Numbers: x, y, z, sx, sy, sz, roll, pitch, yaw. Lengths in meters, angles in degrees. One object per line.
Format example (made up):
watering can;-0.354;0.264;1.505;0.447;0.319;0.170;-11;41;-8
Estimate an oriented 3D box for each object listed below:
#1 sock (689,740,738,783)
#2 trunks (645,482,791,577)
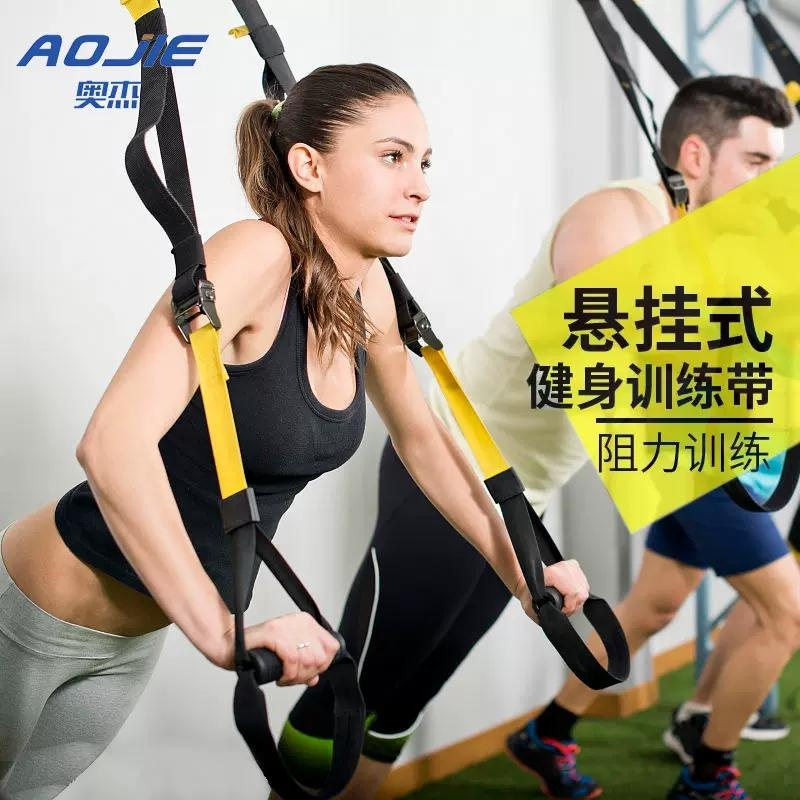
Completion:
sock;0.514;0.583;1.549;0.065;0.076;0.049;-2;-1;28
trunks;0.514;0.194;1.521;0.187;0.166;0.124;-1;0;29
